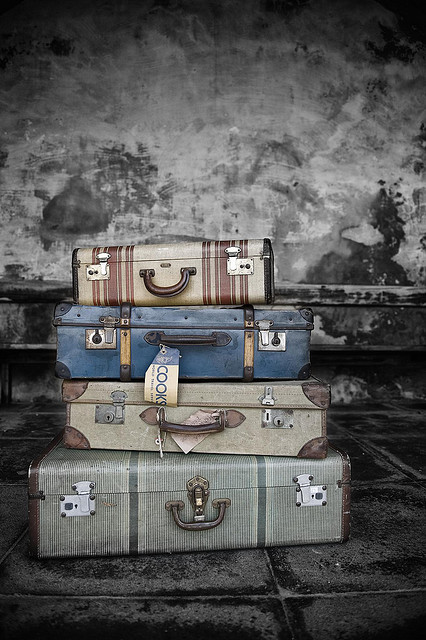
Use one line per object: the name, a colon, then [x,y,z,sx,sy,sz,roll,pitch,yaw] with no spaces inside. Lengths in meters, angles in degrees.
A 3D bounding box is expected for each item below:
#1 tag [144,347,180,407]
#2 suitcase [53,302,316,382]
tag: [-0.199,0.217,2.785,0.159,0.243,0.066,8,-31,-1]
suitcase: [-0.126,0.096,2.978,0.748,0.228,0.428,1,-1,-1]
